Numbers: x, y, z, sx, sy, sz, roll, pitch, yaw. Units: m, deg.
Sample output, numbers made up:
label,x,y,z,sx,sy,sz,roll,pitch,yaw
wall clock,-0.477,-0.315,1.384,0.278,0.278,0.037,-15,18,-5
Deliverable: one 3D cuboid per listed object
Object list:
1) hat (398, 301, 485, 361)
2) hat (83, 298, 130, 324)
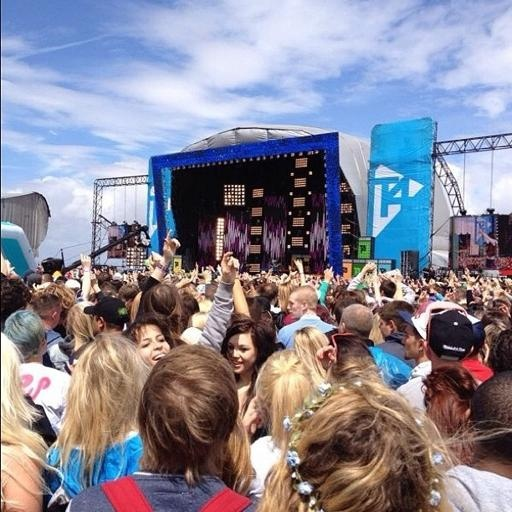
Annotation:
label,x,y,z,sx,sy,sz,roll,pitch,yaw
hat,1.329,0.518,3.240,0.312,0.275,0.498,4,30,-2
hat,-1.250,0.439,3.866,0.293,0.160,0.213,23,19,19
